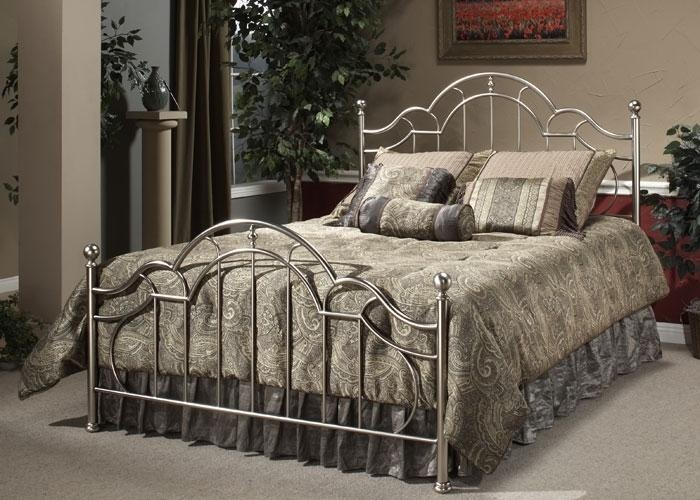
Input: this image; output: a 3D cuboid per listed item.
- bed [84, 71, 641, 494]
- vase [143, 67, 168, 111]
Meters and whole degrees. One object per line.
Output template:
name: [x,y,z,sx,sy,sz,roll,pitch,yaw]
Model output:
bed: [0.259,0.049,3.995,2.003,1.768,3.013,4,7,31]
vase: [-1.299,-1.087,4.731,0.169,0.274,0.180,-3,20,-15]
